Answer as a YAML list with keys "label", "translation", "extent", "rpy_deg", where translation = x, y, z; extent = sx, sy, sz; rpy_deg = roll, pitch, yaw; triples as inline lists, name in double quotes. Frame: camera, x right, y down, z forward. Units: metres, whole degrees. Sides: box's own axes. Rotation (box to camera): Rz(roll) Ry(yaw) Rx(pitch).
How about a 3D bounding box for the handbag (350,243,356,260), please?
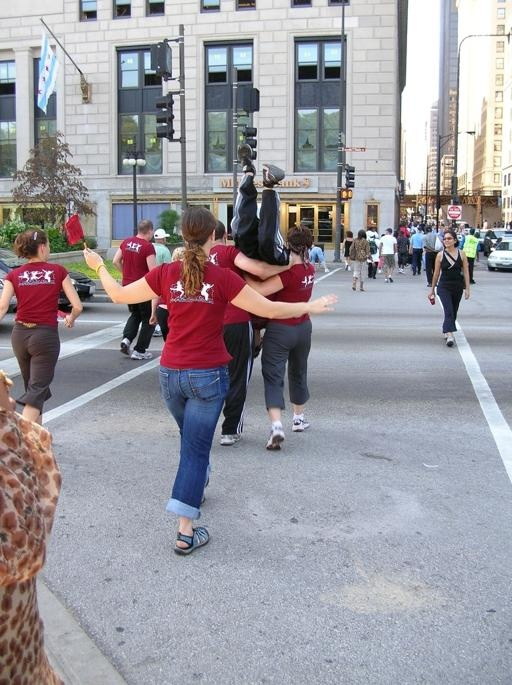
- label: "handbag"
  translation: [3.247, -3.130, 21.957]
  extent: [0.216, 0.637, 0.695]
  rpy_deg: [1, 6, 8]

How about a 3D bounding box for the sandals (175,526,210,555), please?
- label: "sandals"
  translation: [-0.351, 1.088, 3.647]
  extent: [0.084, 0.097, 0.209]
  rpy_deg: [3, 11, 22]

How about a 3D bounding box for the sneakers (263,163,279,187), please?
- label: "sneakers"
  translation: [0.104, -1.279, 4.956]
  extent: [0.165, 0.172, 0.131]
  rpy_deg: [2, 1, 8]

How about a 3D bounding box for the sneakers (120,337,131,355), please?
- label: "sneakers"
  translation: [-2.109, 0.107, 10.489]
  extent: [0.121, 0.306, 0.142]
  rpy_deg: [1, 54, 2]

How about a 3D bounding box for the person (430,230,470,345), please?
- label: "person"
  translation: [3.430, -0.992, 11.661]
  extent: [0.672, 2.024, 1.286]
  rpy_deg: [2, 6, 16]

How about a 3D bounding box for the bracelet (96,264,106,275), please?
- label: "bracelet"
  translation: [-0.847, -0.400, 3.562]
  extent: [0.060, 0.042, 0.080]
  rpy_deg: [-1, -4, -6]

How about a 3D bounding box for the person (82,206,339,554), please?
- label: "person"
  translation: [-0.331, 0.188, 3.631]
  extent: [1.051, 1.894, 0.466]
  rpy_deg: [-1, 6, -15]

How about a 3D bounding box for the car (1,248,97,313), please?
- label: "car"
  translation: [-5.912, -1.680, 17.044]
  extent: [2.796, 1.278, 1.455]
  rpy_deg: [0, 7, 11]

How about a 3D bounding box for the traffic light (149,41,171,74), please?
- label: "traffic light"
  translation: [-2.589, -7.838, 17.832]
  extent: [0.463, 1.095, 1.111]
  rpy_deg: [-1, 6, -11]

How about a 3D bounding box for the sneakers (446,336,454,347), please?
- label: "sneakers"
  translation: [3.370, -0.032, 11.371]
  extent: [0.114, 0.182, 0.199]
  rpy_deg: [2, 6, 17]

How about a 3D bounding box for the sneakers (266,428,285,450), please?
- label: "sneakers"
  translation: [0.165, 0.853, 5.688]
  extent: [0.095, 0.258, 0.119]
  rpy_deg: [6, 52, -6]

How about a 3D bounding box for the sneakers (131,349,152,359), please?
- label: "sneakers"
  translation: [-1.820, 0.204, 10.416]
  extent: [0.372, 0.174, 0.139]
  rpy_deg: [-3, 14, -19]

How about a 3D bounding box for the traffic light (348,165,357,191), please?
- label: "traffic light"
  translation: [4.856, -8.684, 34.093]
  extent: [0.414, 1.288, 1.515]
  rpy_deg: [1, 6, 6]

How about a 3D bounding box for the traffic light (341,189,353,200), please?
- label: "traffic light"
  translation: [4.607, -7.719, 33.584]
  extent: [0.513, 0.531, 1.185]
  rpy_deg: [1, 6, 7]
